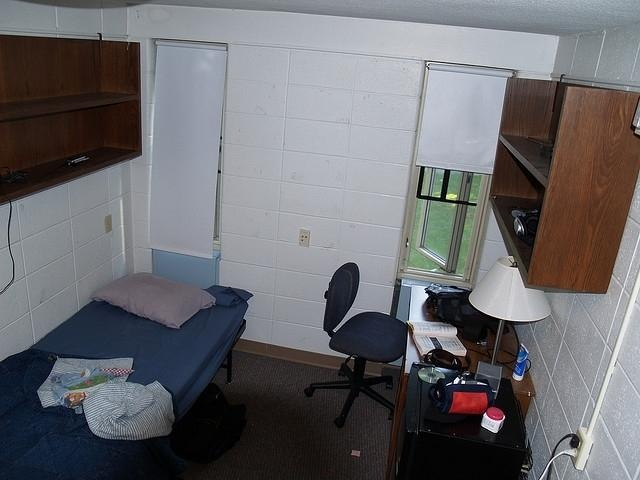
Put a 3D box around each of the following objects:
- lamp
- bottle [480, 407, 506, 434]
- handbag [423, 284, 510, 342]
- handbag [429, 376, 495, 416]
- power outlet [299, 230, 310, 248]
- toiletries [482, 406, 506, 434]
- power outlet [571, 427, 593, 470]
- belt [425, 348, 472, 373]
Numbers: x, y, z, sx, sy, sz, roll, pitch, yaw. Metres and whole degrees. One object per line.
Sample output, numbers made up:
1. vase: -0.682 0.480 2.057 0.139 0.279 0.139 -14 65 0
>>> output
1. lamp: 1.044 0.287 2.801 0.413 0.837 0.432 0 32 3
2. bottle: 0.894 0.928 2.358 0.106 0.095 0.109 11 21 27
3. handbag: 1.011 0.509 3.247 0.362 0.152 0.376 8 12 4
4. handbag: 0.776 0.815 2.450 0.245 0.104 0.188 0 7 -12
5. power outlet: -0.127 -0.021 3.761 0.117 0.205 0.021 3 16 9
6. toiletries: 0.912 0.919 2.388 0.107 0.083 0.109 10 19 26
7. power outlet: 1.178 0.931 2.052 0.046 0.213 0.095 7 22 4
8. belt: 0.793 0.759 2.877 0.161 0.062 0.147 24 13 16
